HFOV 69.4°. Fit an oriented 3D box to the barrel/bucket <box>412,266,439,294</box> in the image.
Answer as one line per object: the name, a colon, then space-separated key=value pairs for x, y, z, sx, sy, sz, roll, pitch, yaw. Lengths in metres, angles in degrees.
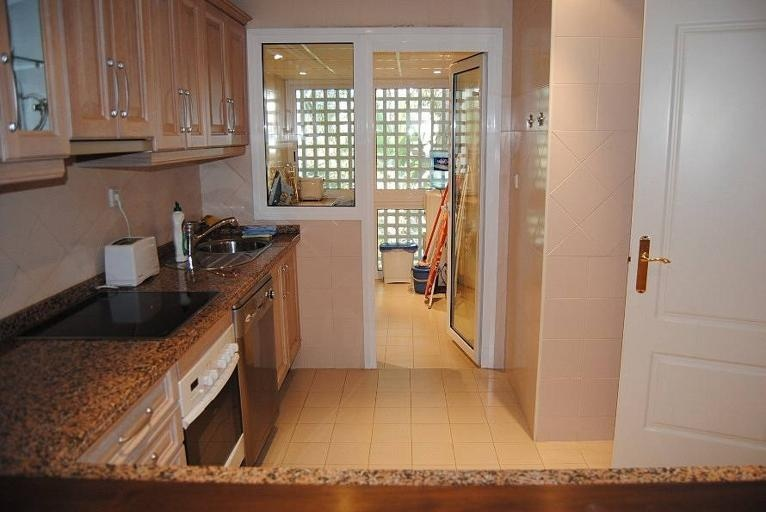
barrel/bucket: x=0.419 y=0.251 z=6.233 sx=0.313 sy=0.275 sz=0.307 roll=-1 pitch=10 yaw=0

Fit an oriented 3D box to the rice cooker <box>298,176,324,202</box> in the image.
rice cooker: x=-0.560 y=-0.522 z=4.293 sx=0.222 sy=0.168 sz=0.176 roll=2 pitch=20 yaw=2

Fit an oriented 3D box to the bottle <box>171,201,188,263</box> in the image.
bottle: x=-1.292 y=-0.159 z=3.485 sx=0.070 sy=0.364 sz=0.249 roll=-4 pitch=14 yaw=-20

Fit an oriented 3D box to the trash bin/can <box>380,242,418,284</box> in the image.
trash bin/can: x=0.168 y=0.054 z=6.717 sx=0.520 sy=0.481 sz=0.458 roll=0 pitch=6 yaw=0

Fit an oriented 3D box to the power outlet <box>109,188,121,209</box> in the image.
power outlet: x=-1.514 y=-0.323 z=3.108 sx=0.030 sy=0.085 sz=0.060 roll=6 pitch=19 yaw=7

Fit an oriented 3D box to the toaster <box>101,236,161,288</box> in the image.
toaster: x=-1.351 y=0.024 z=3.055 sx=0.232 sy=0.271 sz=0.403 roll=-2 pitch=16 yaw=-3
